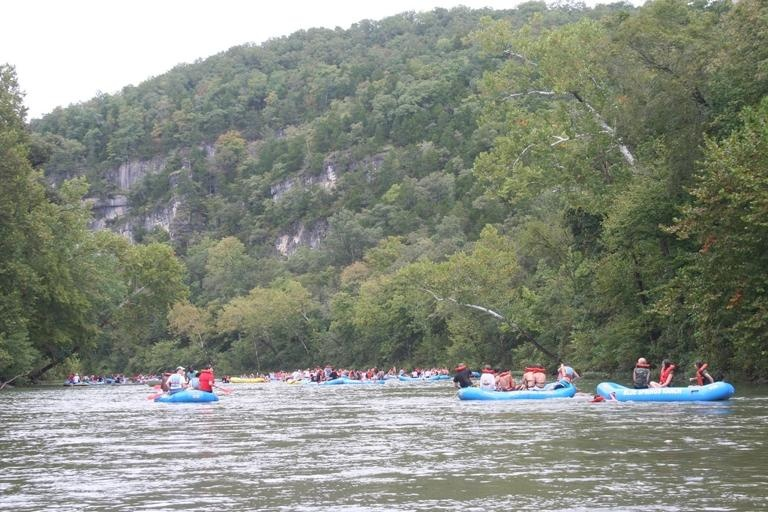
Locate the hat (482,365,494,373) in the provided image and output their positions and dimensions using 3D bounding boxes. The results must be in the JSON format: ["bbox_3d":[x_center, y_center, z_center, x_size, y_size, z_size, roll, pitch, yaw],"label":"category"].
[{"bbox_3d":[7.635,8.494,91.382,0.968,0.547,1.295,-7,-1,-1],"label":"hat"}]

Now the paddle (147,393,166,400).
[{"bbox_3d":[-18.359,11.139,97.434,0.799,0.379,2.648,1,1,-12],"label":"paddle"}]
